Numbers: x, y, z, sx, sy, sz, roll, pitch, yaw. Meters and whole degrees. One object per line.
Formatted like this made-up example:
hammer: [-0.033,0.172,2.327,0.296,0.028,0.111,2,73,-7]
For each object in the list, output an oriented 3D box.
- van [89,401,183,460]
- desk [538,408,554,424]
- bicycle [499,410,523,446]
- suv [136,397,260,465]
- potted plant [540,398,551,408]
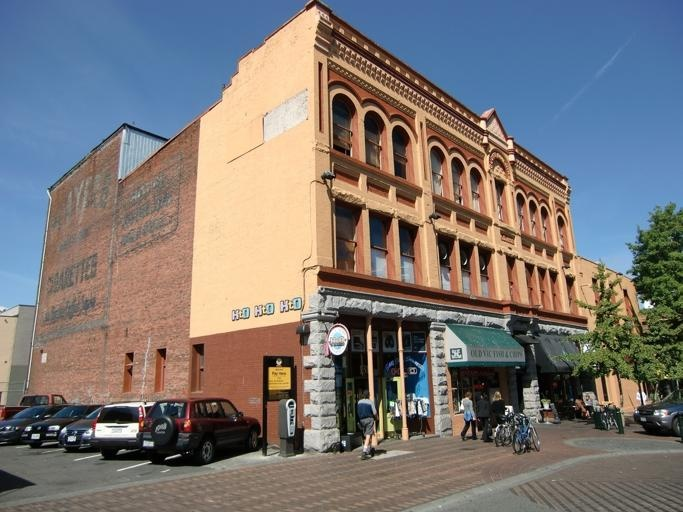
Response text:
van: [-7.805,6.157,15.351,1.646,1.388,2.921,-1,-9,2]
desk: [12.149,9.483,26.055,0.925,0.925,0.885,11,-16,-26]
bicycle: [6.277,6.466,16.285,0.781,0.957,1.605,-17,-42,32]
suv: [-4.384,5.959,15.318,2.032,2.004,4.705,-12,-19,38]
potted plant: [12.103,8.802,26.111,0.607,0.607,0.566,18,-20,-38]
